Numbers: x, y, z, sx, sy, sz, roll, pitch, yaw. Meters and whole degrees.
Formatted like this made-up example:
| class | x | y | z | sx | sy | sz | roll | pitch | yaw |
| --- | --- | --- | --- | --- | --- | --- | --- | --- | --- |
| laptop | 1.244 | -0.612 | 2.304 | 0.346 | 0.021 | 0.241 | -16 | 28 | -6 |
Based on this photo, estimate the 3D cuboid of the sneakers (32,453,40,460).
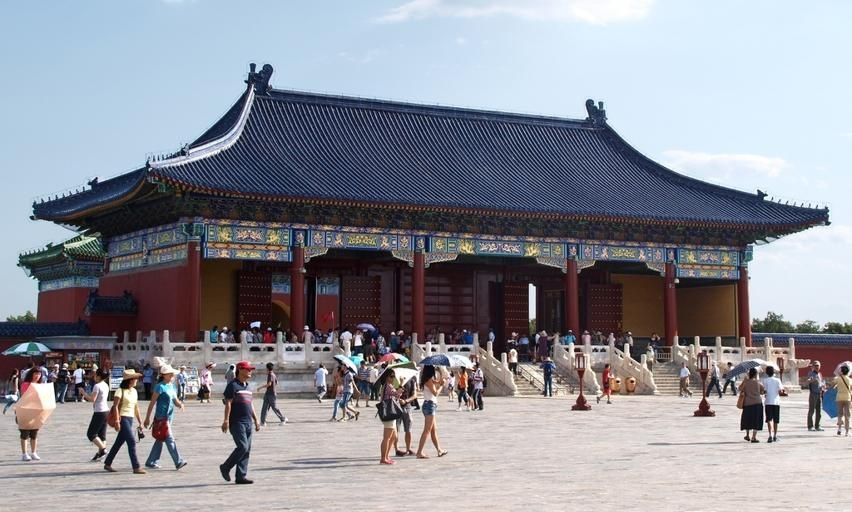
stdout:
| class | x | y | z | sx | sy | sz | roll | pitch | yaw |
| --- | --- | --- | --- | --- | --- | --- | --- | --- | --- |
| sneakers | -11.104 | 5.675 | 36.494 | 0.231 | 0.187 | 0.413 | 2 | -9 | -17 |

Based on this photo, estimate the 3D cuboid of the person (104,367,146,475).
| class | x | y | z | sx | sy | sz | roll | pitch | yaw |
| --- | --- | --- | --- | --- | --- | --- | --- | --- | --- |
| person | -8.332 | 4.432 | 35.564 | 0.996 | 3.053 | 1.078 | -2 | -2 | -11 |

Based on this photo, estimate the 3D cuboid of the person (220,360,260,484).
| class | x | y | z | sx | sy | sz | roll | pitch | yaw |
| --- | --- | --- | --- | --- | --- | --- | --- | --- | --- |
| person | -5.079 | 4.393 | 34.355 | 1.036 | 3.156 | 0.980 | -1 | 0 | 7 |

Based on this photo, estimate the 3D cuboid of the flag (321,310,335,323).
| class | x | y | z | sx | sy | sz | roll | pitch | yaw |
| --- | --- | --- | --- | --- | --- | --- | --- | --- | --- |
| flag | -4.592 | 2.867 | 60.008 | 0.674 | 0.729 | 0.096 | 4 | 10 | 12 |

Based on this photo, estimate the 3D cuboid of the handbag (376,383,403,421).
| class | x | y | z | sx | sy | sz | roll | pitch | yaw |
| --- | --- | --- | --- | --- | --- | --- | --- | --- | --- |
| handbag | -1.024 | 4.134 | 36.244 | 0.682 | 0.999 | 0.340 | 0 | -9 | -3 |

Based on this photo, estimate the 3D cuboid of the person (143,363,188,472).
| class | x | y | z | sx | sy | sz | roll | pitch | yaw |
| --- | --- | --- | --- | --- | --- | --- | --- | --- | --- |
| person | -7.258 | 4.409 | 35.688 | 1.398 | 3.415 | 1.085 | -1 | 0 | -14 |

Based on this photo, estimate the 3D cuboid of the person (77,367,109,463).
| class | x | y | z | sx | sy | sz | roll | pitch | yaw |
| --- | --- | --- | --- | --- | --- | --- | --- | --- | --- |
| person | -9.497 | 4.511 | 36.827 | 0.857 | 2.910 | 0.909 | -7 | -2 | -4 |

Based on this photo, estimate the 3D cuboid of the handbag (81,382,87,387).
| class | x | y | z | sx | sy | sz | roll | pitch | yaw |
| --- | --- | --- | --- | --- | --- | --- | --- | --- | --- |
| handbag | -13.631 | 5.092 | 51.080 | 0.217 | 0.216 | 0.194 | 4 | 6 | -15 |

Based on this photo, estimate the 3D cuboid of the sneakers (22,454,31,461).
| class | x | y | z | sx | sy | sz | roll | pitch | yaw |
| --- | --- | --- | --- | --- | --- | --- | --- | --- | --- |
| sneakers | -11.309 | 5.666 | 36.361 | 0.224 | 0.208 | 0.295 | 4 | -10 | -28 |

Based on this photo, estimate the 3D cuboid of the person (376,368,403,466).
| class | x | y | z | sx | sy | sz | roll | pitch | yaw |
| --- | --- | --- | --- | --- | --- | --- | --- | --- | --- |
| person | -1.056 | 4.569 | 36.366 | 0.691 | 2.561 | 0.620 | -1 | 0 | 2 |

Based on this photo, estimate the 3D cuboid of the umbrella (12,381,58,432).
| class | x | y | z | sx | sy | sz | roll | pitch | yaw |
| --- | --- | --- | --- | --- | --- | --- | --- | --- | --- |
| umbrella | -11.126 | 4.189 | 36.444 | 0.838 | 1.493 | 0.752 | -2 | 2 | -34 |

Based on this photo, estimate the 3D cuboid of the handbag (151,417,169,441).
| class | x | y | z | sx | sy | sz | roll | pitch | yaw |
| --- | --- | --- | --- | --- | --- | --- | --- | --- | --- |
| handbag | -7.263 | 4.723 | 35.128 | 0.495 | 0.577 | 0.328 | -1 | -9 | 3 |
